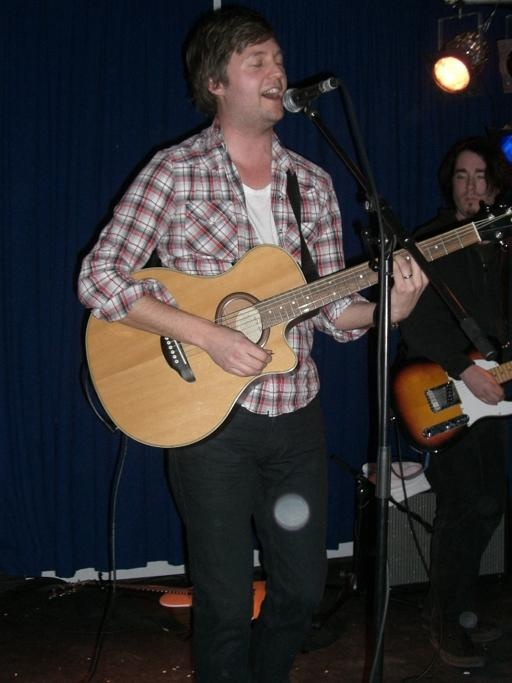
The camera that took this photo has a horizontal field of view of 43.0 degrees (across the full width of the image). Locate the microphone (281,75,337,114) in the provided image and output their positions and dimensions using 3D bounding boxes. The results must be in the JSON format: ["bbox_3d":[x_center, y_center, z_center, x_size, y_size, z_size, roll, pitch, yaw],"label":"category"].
[{"bbox_3d":[0.135,-0.637,1.680,0.140,0.084,0.256,-13,11,7],"label":"microphone"}]

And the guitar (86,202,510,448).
[{"bbox_3d":[-0.031,-0.028,1.868,1.453,0.506,0.138,-21,-5,-7],"label":"guitar"}]

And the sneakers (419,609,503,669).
[{"bbox_3d":[0.845,1.269,2.751,0.133,0.128,0.343,6,-18,-13],"label":"sneakers"}]
